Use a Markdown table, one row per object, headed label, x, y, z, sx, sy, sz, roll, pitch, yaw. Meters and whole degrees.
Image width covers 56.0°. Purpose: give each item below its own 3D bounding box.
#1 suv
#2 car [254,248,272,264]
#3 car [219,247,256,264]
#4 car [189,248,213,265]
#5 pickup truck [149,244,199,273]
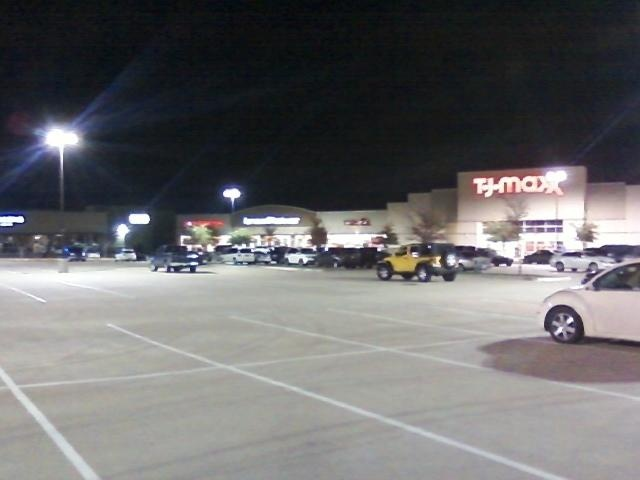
| label | x | y | z | sx | sy | sz | roll | pitch | yaw |
| --- | --- | --- | --- | --- | --- | --- | --- | --- | --- |
| suv | 5.454 | 1.131 | 32.151 | 3.657 | 1.411 | 2.040 | 2 | 1 | 37 |
| car | -5.964 | 1.701 | 60.833 | 2.521 | 1.258 | 0.936 | 3 | -9 | 25 |
| car | -8.260 | 1.635 | 61.196 | 2.015 | 1.612 | 4.082 | 2 | -2 | -42 |
| car | -11.091 | 1.531 | 56.367 | 1.802 | 0.879 | 2.758 | 1 | -2 | -16 |
| pickup truck | -10.787 | 1.327 | 43.344 | 1.877 | 1.240 | 3.298 | -3 | 6 | -41 |
